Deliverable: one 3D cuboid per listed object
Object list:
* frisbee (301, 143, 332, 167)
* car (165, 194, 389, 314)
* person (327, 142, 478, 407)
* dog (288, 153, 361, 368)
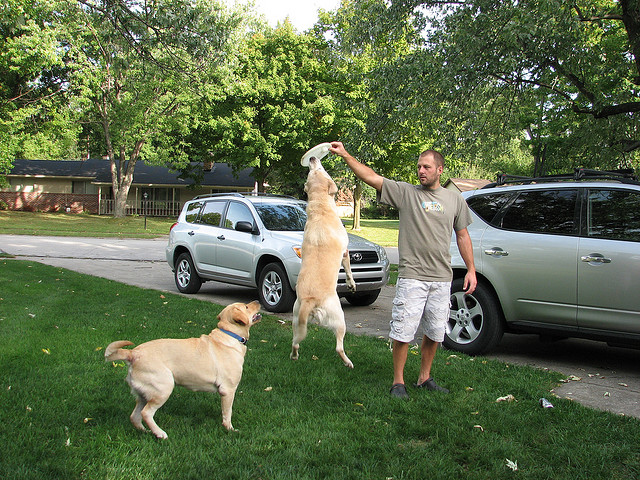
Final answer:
[{"bbox_3d":[-0.049,-1.072,6.006,0.291,0.083,0.315,-20,-9,24],"label":"frisbee"},{"bbox_3d":[-1.308,0.190,11.154,5.091,2.372,2.427,3,0,44],"label":"car"},{"bbox_3d":[1.117,0.371,5.608,1.497,2.342,0.646,5,2,2],"label":"person"},{"bbox_3d":[0.007,0.260,6.834,0.839,2.959,1.580,-3,-17,10],"label":"dog"}]
